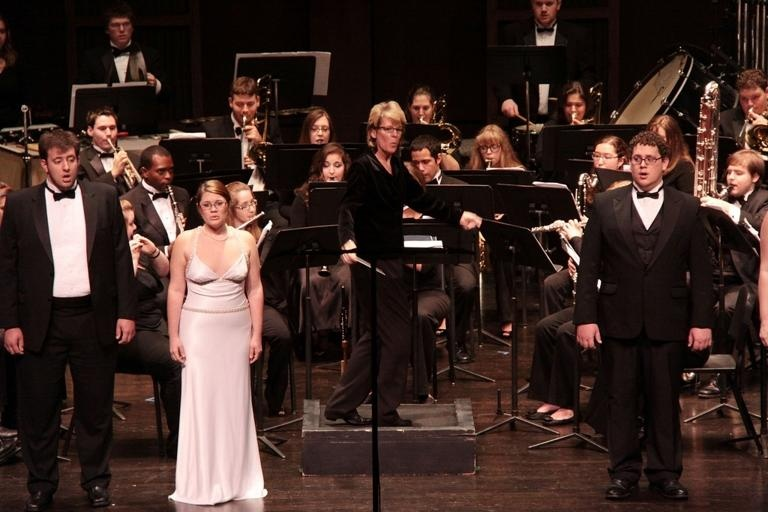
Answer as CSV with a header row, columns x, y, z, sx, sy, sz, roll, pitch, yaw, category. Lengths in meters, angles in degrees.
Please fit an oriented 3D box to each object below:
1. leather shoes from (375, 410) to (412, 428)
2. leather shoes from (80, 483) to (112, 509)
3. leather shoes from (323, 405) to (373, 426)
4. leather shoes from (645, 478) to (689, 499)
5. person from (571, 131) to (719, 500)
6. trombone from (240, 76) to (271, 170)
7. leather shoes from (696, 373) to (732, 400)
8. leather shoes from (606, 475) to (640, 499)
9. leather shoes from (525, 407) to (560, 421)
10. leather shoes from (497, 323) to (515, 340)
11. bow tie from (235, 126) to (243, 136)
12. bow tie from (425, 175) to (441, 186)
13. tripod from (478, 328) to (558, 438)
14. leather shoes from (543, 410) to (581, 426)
x,y,z,sx,sy,sz,roll,pitch,yaw,category
0.069,1.149,6.066,0.293,0.119,0.094,0,6,-8,leather shoes
-1.880,1.578,5.624,0.099,0.097,0.238,2,-7,-23,leather shoes
-0.264,1.121,6.090,0.390,0.153,0.126,-2,5,-5,leather shoes
1.855,1.513,5.617,0.114,0.109,0.242,-1,-3,-39,leather shoes
1.726,0.341,5.830,0.975,2.333,0.926,1,4,17,person
-1.397,-1.448,9.077,0.528,0.958,0.546,-2,-33,-8,trombone
2.720,1.087,7.085,0.394,0.157,0.130,7,-11,-40,leather shoes
1.559,1.523,5.585,0.098,0.113,0.268,-10,-14,39,leather shoes
1.225,1.249,6.768,0.238,0.060,0.090,5,-9,-32,leather shoes
1.197,0.752,8.491,0.142,0.172,0.447,0,-3,6,leather shoes
-1.559,-1.323,9.135,0.069,0.087,0.026,0,9,-7,bow tie
0.456,-0.734,7.997,0.128,0.144,0.115,0,33,3,bow tie
1.007,0.954,6.671,0.545,0.853,0.530,3,-8,-21,tripod
1.365,1.260,6.663,0.313,0.115,0.108,0,-1,-10,leather shoes
